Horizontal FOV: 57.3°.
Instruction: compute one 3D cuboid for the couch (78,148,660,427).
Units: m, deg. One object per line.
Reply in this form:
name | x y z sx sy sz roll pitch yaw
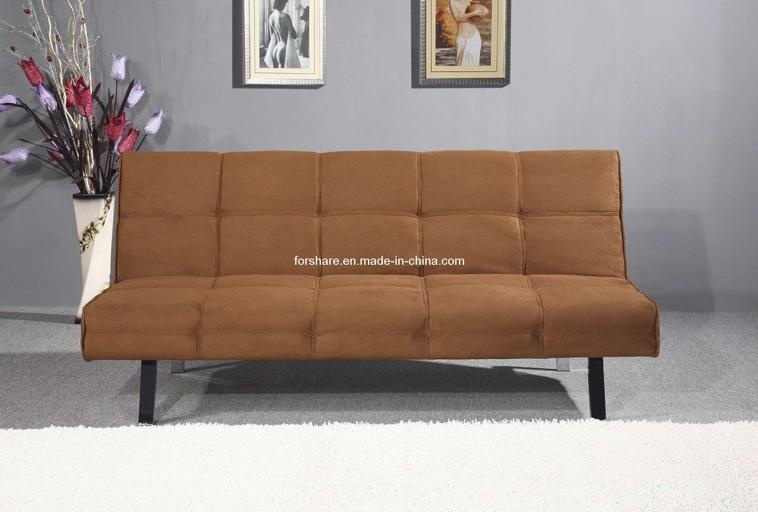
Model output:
couch | -0.055 0.094 3.510 2.623 1.071 1.056 0 20 0
